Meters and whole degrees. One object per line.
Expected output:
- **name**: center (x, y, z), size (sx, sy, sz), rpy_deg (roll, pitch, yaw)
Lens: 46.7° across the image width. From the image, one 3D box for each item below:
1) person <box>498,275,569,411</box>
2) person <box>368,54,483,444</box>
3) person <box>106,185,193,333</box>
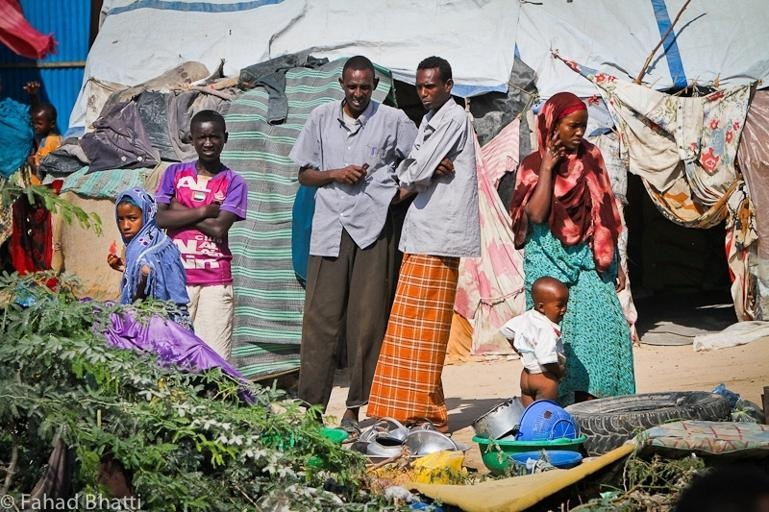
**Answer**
- **person**: center (1.214, 0.690, 7.174), size (0.505, 1.037, 0.220), rpy_deg (1, -4, 9)
- **person**: center (0.360, -0.094, 7.690), size (0.913, 3.208, 0.315), rpy_deg (1, -4, 4)
- **person**: center (-1.911, 0.011, 7.253), size (0.679, 1.113, 0.528), rpy_deg (2, -4, -15)
